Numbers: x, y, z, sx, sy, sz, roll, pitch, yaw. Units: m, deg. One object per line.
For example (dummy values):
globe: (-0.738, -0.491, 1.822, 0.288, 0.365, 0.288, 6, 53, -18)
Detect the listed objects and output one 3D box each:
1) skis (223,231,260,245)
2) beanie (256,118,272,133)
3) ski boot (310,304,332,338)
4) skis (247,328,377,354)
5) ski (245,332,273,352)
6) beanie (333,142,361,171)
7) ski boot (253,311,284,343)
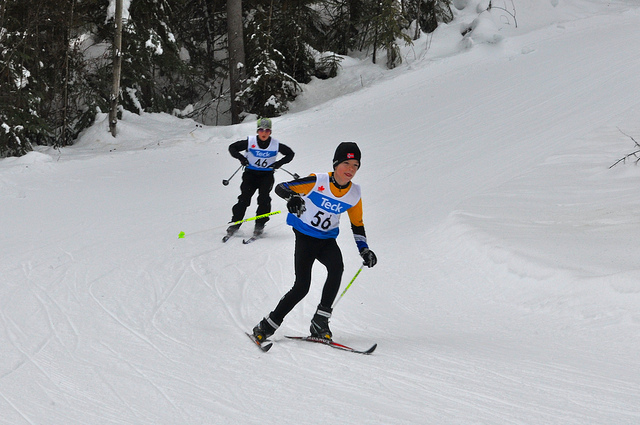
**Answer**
skis: (-1.649, 0.540, 13.786, 0.525, 0.117, 0.106, 21, 20, 35)
beanie: (-1.176, -1.817, 13.676, 0.278, 0.213, 0.265, -4, 22, 2)
ski boot: (-0.009, 1.735, 10.585, 0.365, 0.495, 0.267, -3, 23, 7)
skis: (-0.192, 2.056, 10.555, 1.309, 0.127, 0.175, 9, 7, 7)
ski: (-0.968, 2.033, 10.410, 0.089, 0.085, 0.611, -15, 26, -27)
beanie: (0.389, -0.873, 10.329, 0.422, 0.426, 0.263, -5, 23, 0)
ski boot: (-0.858, 1.818, 10.582, 0.554, 0.323, 0.290, -37, -3, 0)
